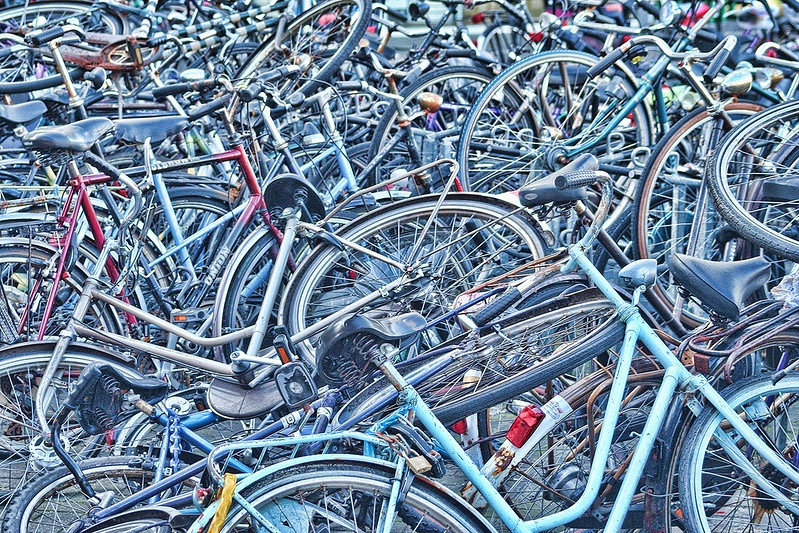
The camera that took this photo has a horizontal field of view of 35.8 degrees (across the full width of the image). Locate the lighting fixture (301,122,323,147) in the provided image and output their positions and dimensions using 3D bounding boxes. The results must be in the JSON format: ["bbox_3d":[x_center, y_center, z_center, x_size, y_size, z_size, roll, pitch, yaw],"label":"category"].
[{"bbox_3d":[-0.584,-0.880,8.348,0.192,0.135,0.167,-6,80,-8],"label":"lighting fixture"}]

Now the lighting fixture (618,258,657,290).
[{"bbox_3d":[1.269,0.039,6.560,0.181,0.119,0.132,-3,25,-6],"label":"lighting fixture"}]

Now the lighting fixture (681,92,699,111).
[{"bbox_3d":[1.997,-1.132,8.535,0.137,0.058,0.096,-43,85,10],"label":"lighting fixture"}]

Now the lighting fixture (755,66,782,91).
[{"bbox_3d":[2.724,-1.369,9.115,0.195,0.200,0.185,-1,38,21],"label":"lighting fixture"}]
